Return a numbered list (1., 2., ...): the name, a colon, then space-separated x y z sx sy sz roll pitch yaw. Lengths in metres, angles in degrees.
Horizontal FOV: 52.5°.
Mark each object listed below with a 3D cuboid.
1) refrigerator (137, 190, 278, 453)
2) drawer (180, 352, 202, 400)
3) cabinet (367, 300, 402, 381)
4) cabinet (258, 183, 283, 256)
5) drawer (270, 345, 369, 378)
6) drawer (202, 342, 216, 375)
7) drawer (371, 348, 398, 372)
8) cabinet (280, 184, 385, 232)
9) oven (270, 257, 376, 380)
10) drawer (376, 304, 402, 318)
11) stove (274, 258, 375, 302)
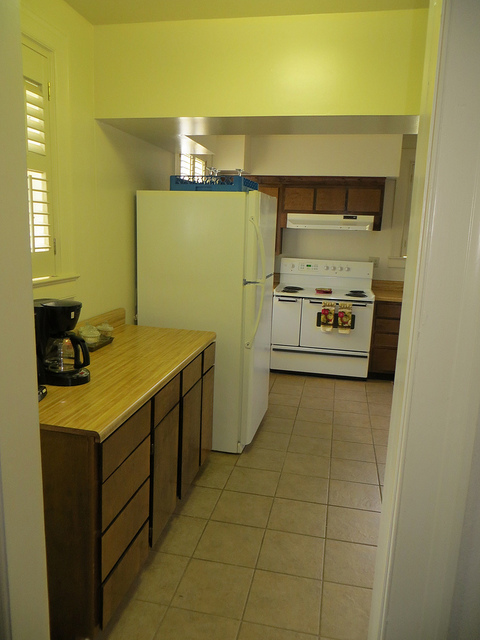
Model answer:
1. refrigerator: -0.201 -0.188 3.336 0.677 1.882 0.915 4 10 12
2. drawer: -0.235 0.259 2.350 0.028 0.146 0.129 10 11 13
3. cabinet: 1.451 0.265 4.917 0.274 0.663 0.309 5 0 7
4. cabinet: 0.321 -1.110 5.352 0.174 0.735 0.302 2 11 4
5. drawer: 0.782 0.403 4.857 0.955 0.270 0.063 5 9 14
6. drawer: -0.172 0.205 2.653 0.075 0.114 0.163 1 10 11
7. drawer: 1.363 0.357 4.588 0.273 0.308 0.163 2 9 18
8. cabinet: 0.991 -1.254 5.349 1.112 0.652 0.388 2 31 5
9. oven: 0.850 -0.050 5.125 0.996 1.153 0.993 3 9 5
10. drawer: 1.438 -0.091 4.703 0.222 0.132 0.075 3 9 2
11. stove: 0.920 -0.445 5.216 1.000 0.423 0.572 5 14 13
